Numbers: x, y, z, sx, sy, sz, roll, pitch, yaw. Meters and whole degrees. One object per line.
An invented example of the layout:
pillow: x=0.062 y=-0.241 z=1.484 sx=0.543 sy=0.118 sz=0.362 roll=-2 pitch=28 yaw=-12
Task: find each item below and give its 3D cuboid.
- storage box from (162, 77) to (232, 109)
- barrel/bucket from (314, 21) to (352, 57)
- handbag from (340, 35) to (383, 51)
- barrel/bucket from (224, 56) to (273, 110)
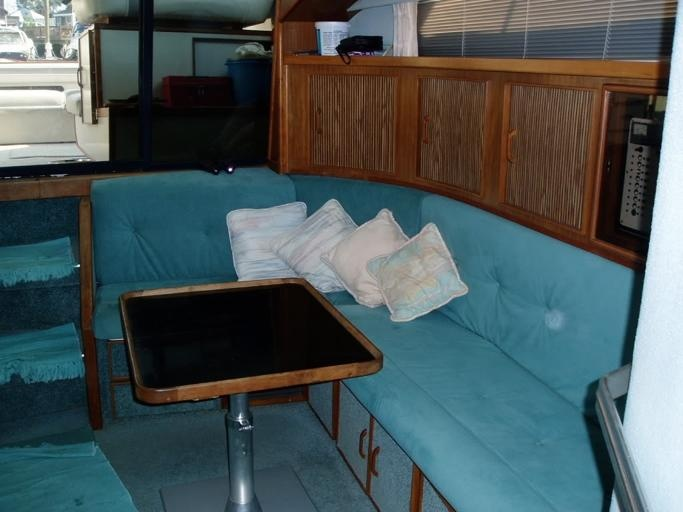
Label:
storage box: x=-0.886 y=-1.016 z=3.238 sx=0.421 sy=0.185 sz=0.051 roll=-7 pitch=23 yaw=-16
barrel/bucket: x=-0.047 y=-1.253 z=3.073 sx=0.213 sy=0.171 sz=0.200 roll=1 pitch=20 yaw=0
handbag: x=0.106 y=-1.191 z=2.939 sx=0.251 sy=0.086 sz=0.129 roll=-2 pitch=21 yaw=-4
barrel/bucket: x=-0.567 y=-1.101 z=3.325 sx=0.292 sy=0.237 sz=0.292 roll=-1 pitch=24 yaw=0
